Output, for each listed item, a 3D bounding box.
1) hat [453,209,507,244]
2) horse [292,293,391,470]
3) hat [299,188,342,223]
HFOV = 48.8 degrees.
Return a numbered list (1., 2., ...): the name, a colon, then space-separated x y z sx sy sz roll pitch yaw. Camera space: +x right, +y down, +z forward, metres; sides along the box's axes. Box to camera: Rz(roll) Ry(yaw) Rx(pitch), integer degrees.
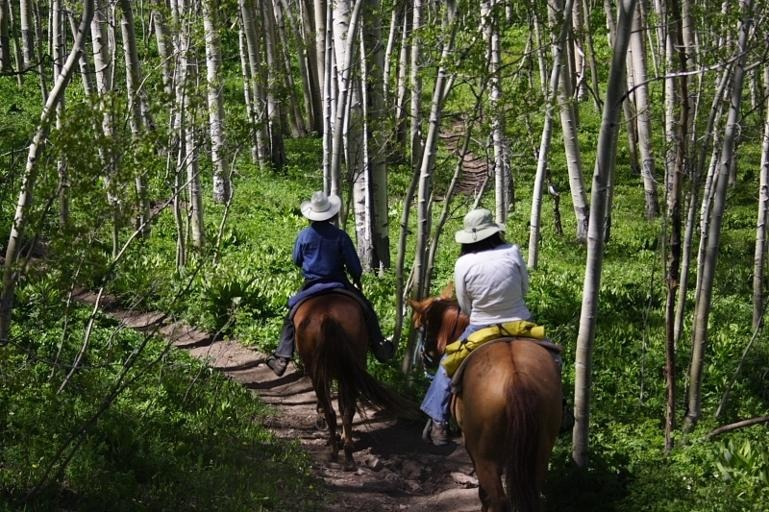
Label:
1. hat: 1.256 -0.389 11.579 0.653 0.359 0.696 -11 4 -34
2. horse: -0.932 1.505 13.612 0.894 2.791 3.465 -8 6 -13
3. hat: -0.967 -0.761 13.072 0.605 0.453 0.488 -1 5 -10
